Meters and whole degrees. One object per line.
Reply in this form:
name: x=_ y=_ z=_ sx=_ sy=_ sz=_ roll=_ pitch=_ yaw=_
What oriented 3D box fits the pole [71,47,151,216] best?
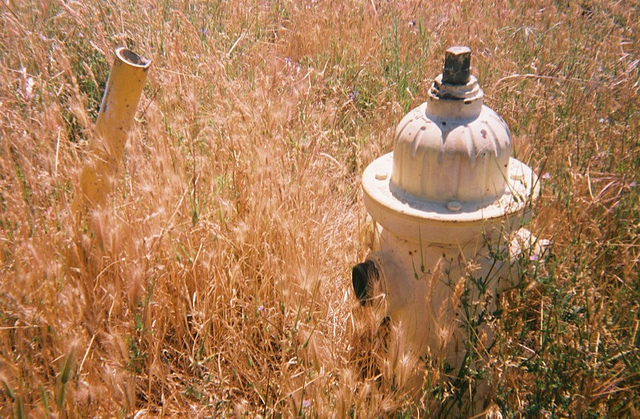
pole: x=-1.496 y=-0.537 z=4.953 sx=0.659 sy=1.121 sz=0.551 roll=-10 pitch=21 yaw=-22

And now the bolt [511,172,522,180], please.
bolt: x=1.381 y=-0.242 z=4.882 sx=0.053 sy=0.015 sz=0.058 roll=4 pitch=45 yaw=28

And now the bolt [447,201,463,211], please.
bolt: x=0.907 y=-0.027 z=4.669 sx=0.097 sy=0.049 sz=0.056 roll=-2 pitch=21 yaw=-1
